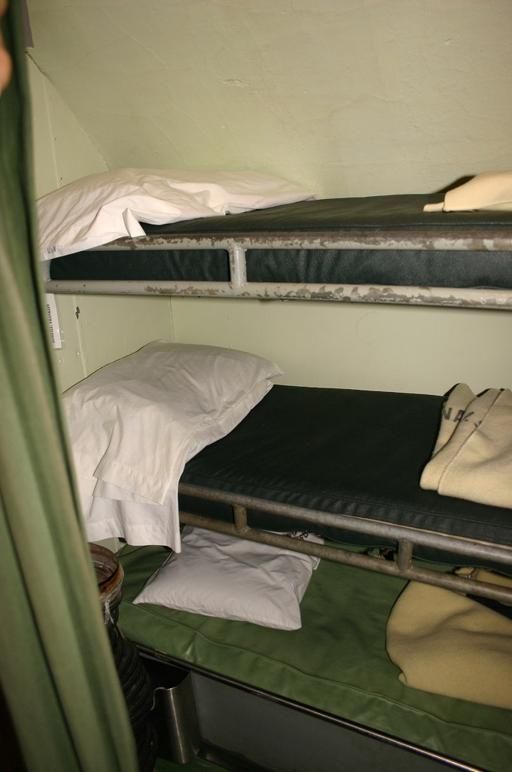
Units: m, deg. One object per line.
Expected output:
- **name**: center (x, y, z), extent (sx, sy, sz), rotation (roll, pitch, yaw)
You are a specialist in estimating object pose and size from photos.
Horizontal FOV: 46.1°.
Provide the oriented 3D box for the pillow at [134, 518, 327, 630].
- **pillow**: center (-0.096, 0.691, 2.495), extent (0.589, 0.624, 0.142), rotation (-9, 54, 44)
